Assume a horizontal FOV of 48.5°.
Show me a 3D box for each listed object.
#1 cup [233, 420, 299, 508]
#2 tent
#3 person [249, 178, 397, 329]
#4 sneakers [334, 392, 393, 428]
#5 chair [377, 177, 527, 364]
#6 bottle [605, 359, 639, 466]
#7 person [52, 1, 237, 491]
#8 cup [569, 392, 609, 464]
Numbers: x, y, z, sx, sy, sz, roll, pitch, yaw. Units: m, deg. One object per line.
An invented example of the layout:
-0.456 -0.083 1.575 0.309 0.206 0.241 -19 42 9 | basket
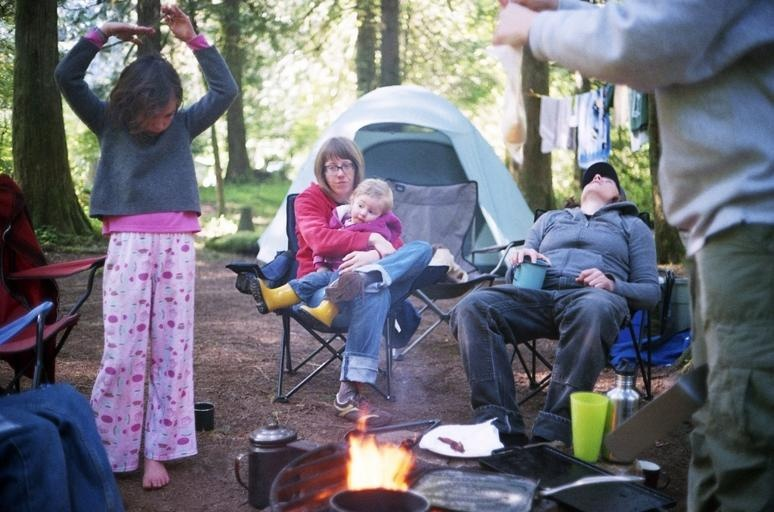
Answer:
-0.565 0.991 4.173 0.283 0.433 0.355 0 -2 -5 | cup
0.055 -0.757 8.319 2.334 1.678 1.657 -4 14 -13 | tent
-0.260 -0.040 5.373 1.112 1.106 0.605 -1 -4 31 | person
-0.151 0.881 4.931 0.350 0.163 0.133 4 6 9 | sneakers
0.530 0.189 6.564 1.013 1.340 1.290 1 20 12 | chair
1.176 0.736 4.432 0.203 0.654 0.217 -1 -12 0 | bottle
-1.170 -0.060 4.734 0.947 2.480 0.926 2 4 32 | person
1.010 0.839 4.393 0.212 0.322 0.239 5 14 28 | cup
